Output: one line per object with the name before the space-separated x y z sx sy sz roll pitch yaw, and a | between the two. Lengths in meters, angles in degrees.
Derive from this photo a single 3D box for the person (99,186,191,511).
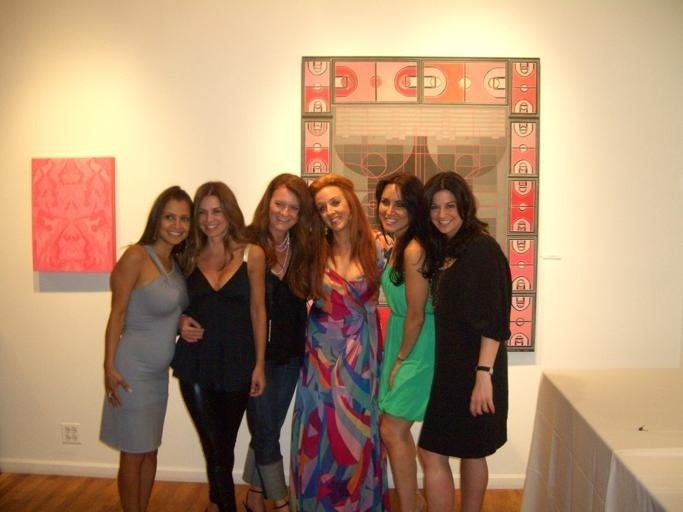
person | -1.199 0.387 3.652 0.645 1.599 0.258 -6 11 -27

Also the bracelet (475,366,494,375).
bracelet | 0.810 0.639 3.353 0.073 0.049 0.079 7 -6 6

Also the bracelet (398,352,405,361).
bracelet | 0.370 0.620 3.664 0.044 0.038 0.048 4 -7 -3
